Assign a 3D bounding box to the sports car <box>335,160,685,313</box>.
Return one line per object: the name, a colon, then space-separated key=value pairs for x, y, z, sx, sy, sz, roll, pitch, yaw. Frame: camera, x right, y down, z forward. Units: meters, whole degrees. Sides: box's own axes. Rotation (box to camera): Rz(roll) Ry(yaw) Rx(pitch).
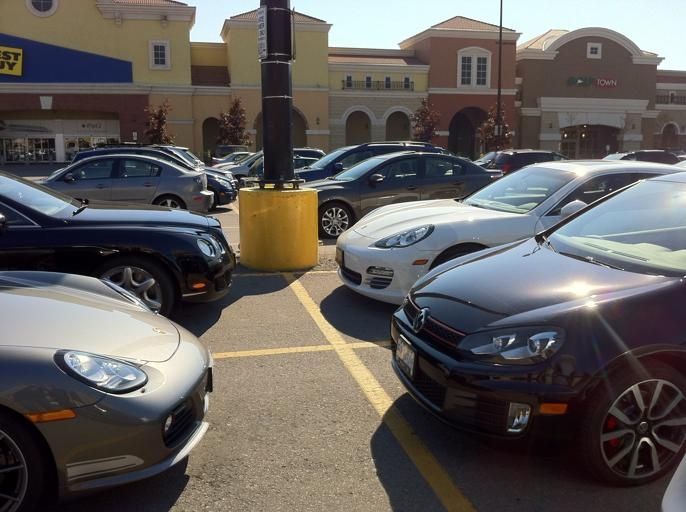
sports car: x=2.032 y=-0.451 z=6.615 sx=4.137 sy=1.259 sz=1.746 roll=-5 pitch=5 yaw=-8
